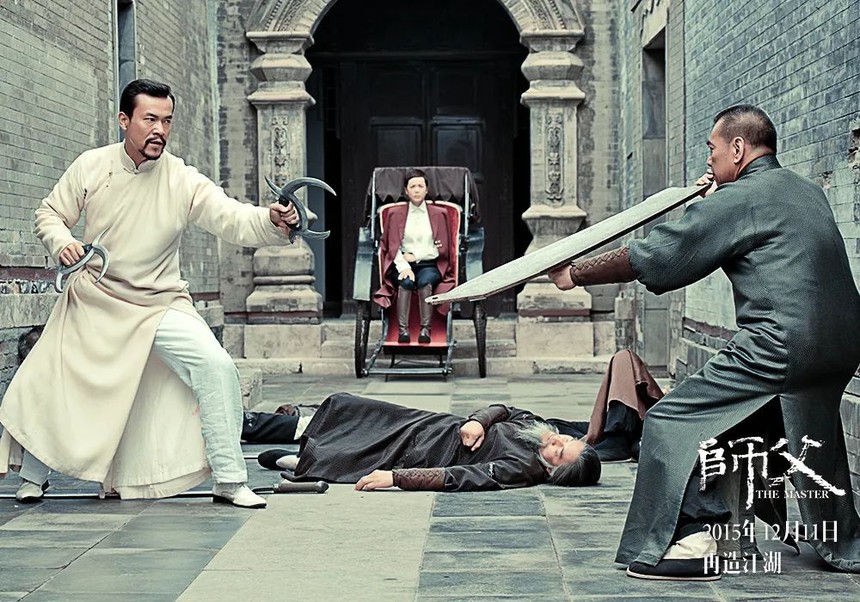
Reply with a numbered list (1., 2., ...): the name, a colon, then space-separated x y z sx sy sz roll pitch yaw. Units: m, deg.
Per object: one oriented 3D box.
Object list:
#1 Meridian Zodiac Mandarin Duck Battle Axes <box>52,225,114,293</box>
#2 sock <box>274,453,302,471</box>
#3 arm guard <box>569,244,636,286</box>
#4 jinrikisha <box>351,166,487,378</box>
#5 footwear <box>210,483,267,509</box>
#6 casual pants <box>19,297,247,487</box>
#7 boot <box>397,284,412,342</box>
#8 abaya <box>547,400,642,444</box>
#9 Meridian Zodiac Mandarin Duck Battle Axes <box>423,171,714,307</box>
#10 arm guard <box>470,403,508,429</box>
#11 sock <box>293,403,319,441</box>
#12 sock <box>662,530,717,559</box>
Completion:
1. Meridian Zodiac Mandarin Duck Battle Axes: -2.161 -0.261 7.808 0.100 0.380 0.393 30 59 37
2. sock: -0.975 1.117 8.826 0.129 0.047 0.132 -10 9 9
3. arm guard: 0.925 -0.168 6.857 0.327 0.136 0.166 -9 33 22
4. jinrikisha: -0.170 -0.287 13.998 1.357 2.077 2.473 0 10 0
5. footwear: -1.178 1.216 7.999 0.370 0.143 0.134 1 -2 20
6. casual pants: -1.852 0.615 7.960 1.222 1.049 0.554 2 -5 1
7. boot: -0.276 0.136 13.806 0.156 0.590 0.336 -1 11 -2
8. abaya: 1.232 0.878 9.241 0.458 0.216 0.357 -3 -1 24
9. Meridian Zodiac Mandarin Duck Battle Axes: 1.145 -0.534 11.167 3.217 0.330 0.531 -25 23 7
10. arm guard: 0.407 0.762 8.544 0.147 0.067 0.233 -14 6 24
11. sock: -0.936 0.901 9.572 0.070 0.263 0.177 20 -5 32
12. sock: 1.360 1.284 6.702 0.217 0.084 0.157 -12 -10 7
